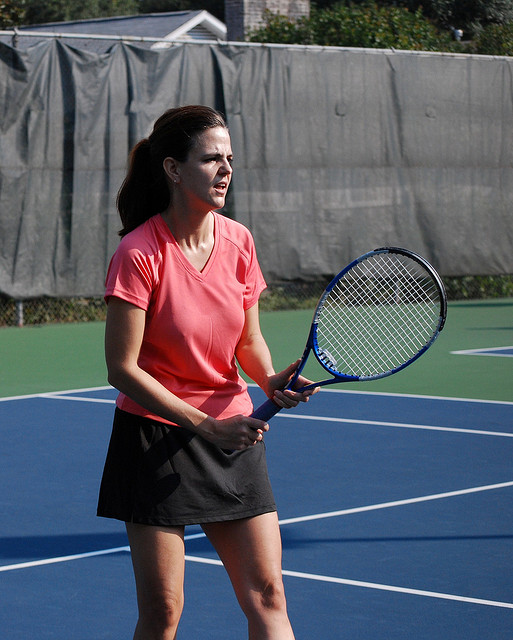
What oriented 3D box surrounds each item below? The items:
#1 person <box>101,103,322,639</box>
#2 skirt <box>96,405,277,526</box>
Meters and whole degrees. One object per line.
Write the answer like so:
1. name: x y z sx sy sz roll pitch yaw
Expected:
1. person: -0.100 0.096 1.870 0.457 1.099 0.442 0 5 -2
2. skirt: -0.148 0.336 1.846 0.426 0.300 0.235 6 -13 -28
